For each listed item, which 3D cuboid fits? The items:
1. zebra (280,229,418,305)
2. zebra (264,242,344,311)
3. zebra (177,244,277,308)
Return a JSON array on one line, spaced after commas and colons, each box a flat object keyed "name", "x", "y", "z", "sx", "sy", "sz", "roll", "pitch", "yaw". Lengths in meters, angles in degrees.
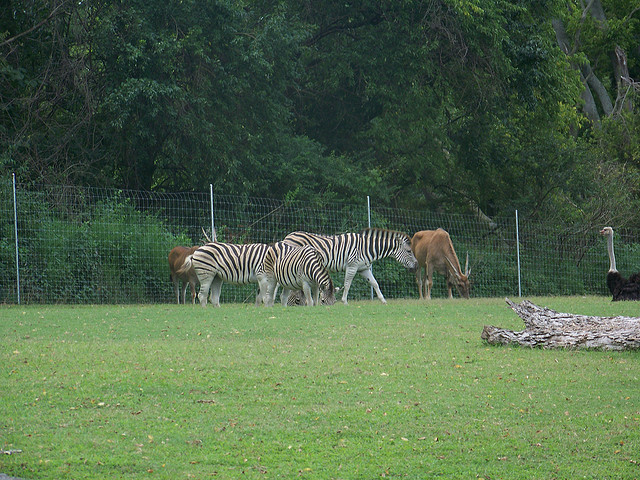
[{"name": "zebra", "x": 0.824, "y": 0.682, "z": 31.014, "sx": 3.994, "sy": 2.719, "sz": 0.968, "roll": 6, "pitch": 21, "yaw": 10}, {"name": "zebra", "x": -0.652, "y": 1.106, "z": 28.738, "sx": 2.740, "sy": 1.904, "sz": 0.995, "roll": 12, "pitch": 13, "yaw": 42}, {"name": "zebra", "x": -2.355, "y": 0.926, "z": 29.560, "sx": 3.423, "sy": 2.575, "sz": 0.891, "roll": -1, "pitch": 9, "yaw": -3}]
